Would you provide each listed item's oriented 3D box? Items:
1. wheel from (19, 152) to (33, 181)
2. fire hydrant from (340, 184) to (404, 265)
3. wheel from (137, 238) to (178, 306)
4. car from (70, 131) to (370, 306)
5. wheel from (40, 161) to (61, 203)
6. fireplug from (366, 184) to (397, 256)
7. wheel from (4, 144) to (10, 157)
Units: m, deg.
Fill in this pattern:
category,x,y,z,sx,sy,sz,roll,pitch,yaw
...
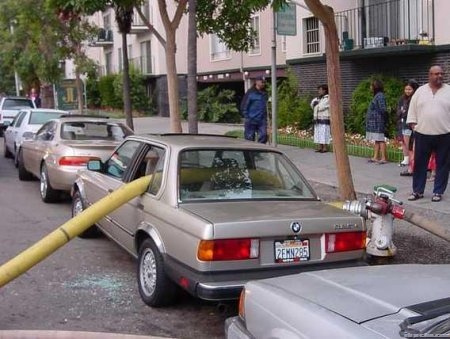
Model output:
category,x,y,z,sx,sy,sz,roll,pitch,yaw
wheel,-4.978,-0.115,10.687,0.220,0.673,0.619,0,7,-11
fire hydrant,2.035,0.705,5.508,0.526,0.920,0.650,9,-4,-42
wheel,-0.715,1.061,4.430,0.197,0.644,0.581,4,-12,-33
car,-0.452,0.286,5.051,1.565,1.253,3.365,-3,11,-31
wheel,-3.471,0.250,8.572,0.234,0.827,0.747,1,-5,-25
fireplug,2.030,0.684,5.601,0.420,0.929,0.471,2,-1,19
wheel,-7.861,-0.698,15.477,0.118,0.415,0.379,-1,7,-15
